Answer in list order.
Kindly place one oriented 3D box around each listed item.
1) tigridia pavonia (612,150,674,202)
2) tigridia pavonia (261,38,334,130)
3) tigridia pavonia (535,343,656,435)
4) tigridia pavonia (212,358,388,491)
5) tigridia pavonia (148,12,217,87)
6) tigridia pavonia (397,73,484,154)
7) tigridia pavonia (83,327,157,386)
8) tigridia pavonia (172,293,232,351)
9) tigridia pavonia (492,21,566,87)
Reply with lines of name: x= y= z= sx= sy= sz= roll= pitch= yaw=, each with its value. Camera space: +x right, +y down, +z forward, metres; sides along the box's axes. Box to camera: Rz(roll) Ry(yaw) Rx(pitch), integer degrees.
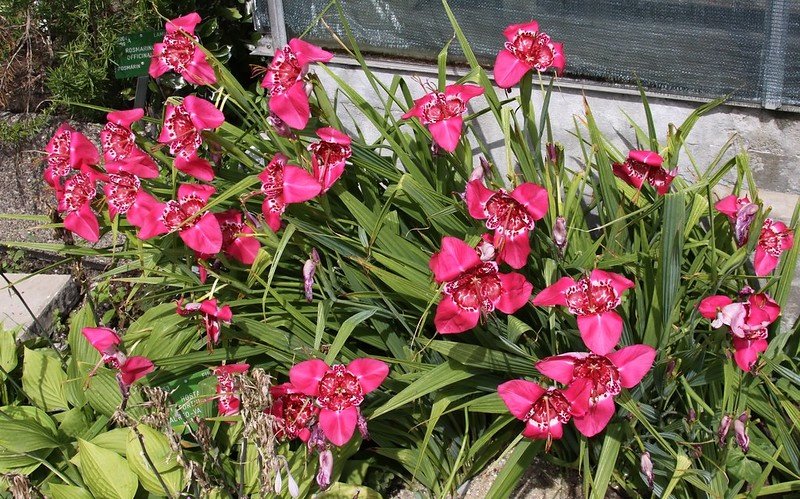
tigridia pavonia: x=1.068 y=-0.343 z=2.888 sx=0.188 sy=0.199 sz=0.287 roll=0 pitch=5 yaw=-17
tigridia pavonia: x=-0.434 y=-0.694 z=2.709 sx=0.266 sy=0.381 sz=0.220 roll=-1 pitch=4 yaw=-20
tigridia pavonia: x=0.716 y=0.495 z=2.366 sx=0.418 sy=0.311 sz=0.143 roll=-9 pitch=-28 yaw=7
tigridia pavonia: x=-0.383 y=0.718 z=2.520 sx=0.639 sy=0.634 sz=0.554 roll=0 pitch=4 yaw=-18
tigridia pavonia: x=-0.974 y=-0.922 z=2.931 sx=0.374 sy=0.351 sz=0.174 roll=4 pitch=5 yaw=38
tigridia pavonia: x=0.174 y=-0.535 z=2.690 sx=0.385 sy=0.174 sz=0.448 roll=-14 pitch=36 yaw=14
tigridia pavonia: x=-1.102 y=0.410 z=2.587 sx=0.232 sy=0.180 sz=0.249 roll=10 pitch=13 yaw=22
tigridia pavonia: x=-0.818 y=0.318 z=2.711 sx=0.187 sy=0.237 sz=0.293 roll=-2 pitch=5 yaw=-33
tigridia pavonia: x=0.549 y=-0.799 z=2.680 sx=0.278 sy=0.122 sz=0.382 roll=21 pitch=-15 yaw=-3
